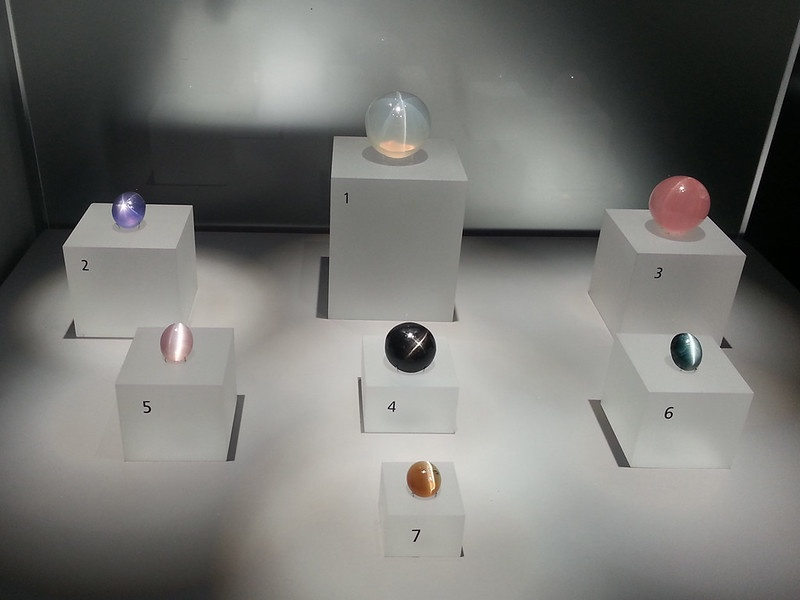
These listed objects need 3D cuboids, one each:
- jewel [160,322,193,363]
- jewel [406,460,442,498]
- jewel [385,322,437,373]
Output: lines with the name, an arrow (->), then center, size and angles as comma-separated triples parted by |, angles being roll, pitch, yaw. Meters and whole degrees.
jewel -> -1.036, 0.212, 2.725 | 0.124, 0.191, 0.107 | 3, -8, 2
jewel -> 0.087, 0.746, 2.406 | 0.151, 0.095, 0.155 | -26, 15, -33
jewel -> 0.054, 0.264, 2.860 | 0.200, 0.259, 0.142 | -4, -10, -3
